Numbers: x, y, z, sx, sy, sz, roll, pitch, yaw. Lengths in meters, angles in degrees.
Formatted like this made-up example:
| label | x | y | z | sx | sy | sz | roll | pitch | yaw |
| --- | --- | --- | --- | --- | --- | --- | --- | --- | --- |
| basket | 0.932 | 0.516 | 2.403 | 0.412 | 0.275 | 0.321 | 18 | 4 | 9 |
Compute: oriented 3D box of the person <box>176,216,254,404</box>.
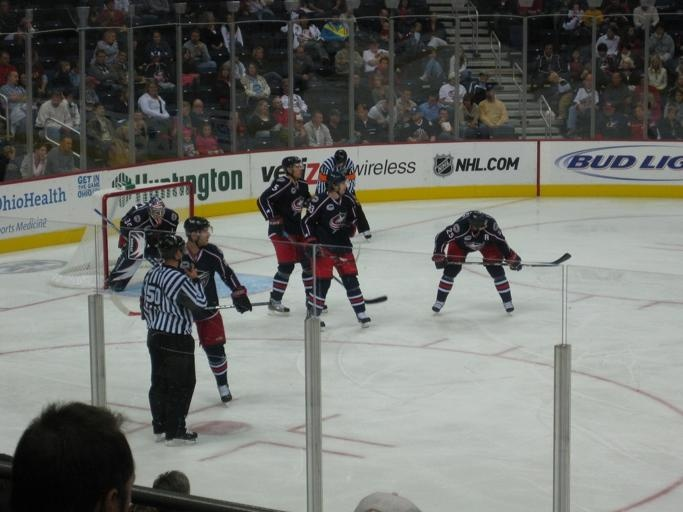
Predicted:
| label | x | y | z | sx | sy | sz | roll | pitch | yaw |
| --- | --- | --- | --- | --- | --- | --- | --- | --- | --- |
| person | -0.783 | 0.354 | 7.152 | 0.202 | 1.112 | 0.555 | -8 | 12 | -36 |

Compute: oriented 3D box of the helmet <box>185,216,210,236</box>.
| label | x | y | z | sx | sy | sz | roll | pitch | yaw |
| --- | --- | --- | --- | --- | --- | --- | --- | --- | --- |
| helmet | -0.919 | -0.203 | 7.261 | 0.174 | 0.132 | 0.123 | -10 | 13 | -3 |

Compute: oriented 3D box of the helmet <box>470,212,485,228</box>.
| label | x | y | z | sx | sy | sz | roll | pitch | yaw |
| --- | --- | --- | --- | --- | --- | --- | --- | --- | --- |
| helmet | 1.053 | -0.285 | 8.894 | 0.108 | 0.103 | 0.130 | 0 | 15 | 2 |

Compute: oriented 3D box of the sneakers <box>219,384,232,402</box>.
| label | x | y | z | sx | sy | sz | roll | pitch | yaw |
| --- | --- | --- | --- | --- | --- | --- | --- | --- | --- |
| sneakers | -0.722 | 0.852 | 7.126 | 0.078 | 0.113 | 0.082 | -9 | 5 | 3 |

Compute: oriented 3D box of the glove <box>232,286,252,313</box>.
| label | x | y | z | sx | sy | sz | roll | pitch | yaw |
| --- | --- | --- | --- | --- | --- | --- | --- | --- | --- |
| glove | -0.613 | 0.265 | 7.046 | 0.131 | 0.150 | 0.067 | -14 | -17 | 20 |

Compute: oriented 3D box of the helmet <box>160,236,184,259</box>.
| label | x | y | z | sx | sy | sz | roll | pitch | yaw |
| --- | --- | --- | --- | --- | --- | --- | --- | --- | --- |
| helmet | -1.052 | -0.066 | 7.204 | 0.139 | 0.139 | 0.154 | 5 | 38 | 10 |

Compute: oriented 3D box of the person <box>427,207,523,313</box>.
| label | x | y | z | sx | sy | sz | roll | pitch | yaw |
| --- | --- | --- | --- | --- | --- | --- | --- | --- | --- |
| person | 0.906 | 0.006 | 7.906 | 0.689 | 0.771 | 0.479 | -4 | 24 | -5 |

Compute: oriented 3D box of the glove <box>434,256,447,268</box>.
| label | x | y | z | sx | sy | sz | roll | pitch | yaw |
| --- | --- | --- | --- | --- | --- | --- | --- | --- | --- |
| glove | 0.577 | 0.031 | 6.650 | 0.067 | 0.073 | 0.017 | -1 | 10 | 0 |

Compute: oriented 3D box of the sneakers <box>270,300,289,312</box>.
| label | x | y | z | sx | sy | sz | roll | pitch | yaw |
| --- | --- | --- | --- | --- | --- | --- | --- | --- | --- |
| sneakers | -0.377 | 0.297 | 6.895 | 0.147 | 0.072 | 0.039 | 6 | 12 | 38 |

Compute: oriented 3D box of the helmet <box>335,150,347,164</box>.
| label | x | y | z | sx | sy | sz | roll | pitch | yaw |
| --- | --- | --- | --- | --- | --- | --- | --- | --- | --- |
| helmet | -0.002 | -1.204 | 13.751 | 0.154 | 0.161 | 0.253 | -1 | 9 | -1 |

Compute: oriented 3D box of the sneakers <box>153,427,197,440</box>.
| label | x | y | z | sx | sy | sz | roll | pitch | yaw |
| --- | --- | --- | --- | --- | --- | --- | --- | --- | --- |
| sneakers | -1.048 | 1.143 | 7.342 | 0.301 | 0.102 | 0.090 | -2 | 8 | 3 |
